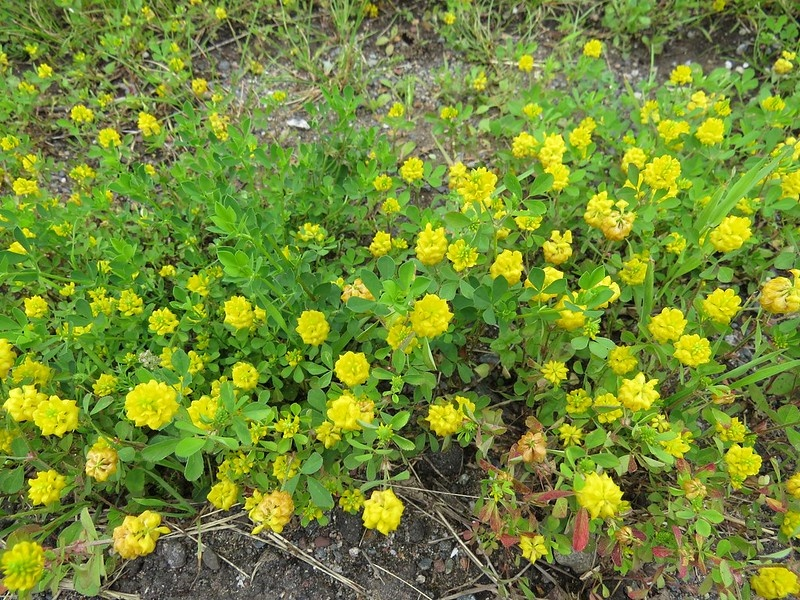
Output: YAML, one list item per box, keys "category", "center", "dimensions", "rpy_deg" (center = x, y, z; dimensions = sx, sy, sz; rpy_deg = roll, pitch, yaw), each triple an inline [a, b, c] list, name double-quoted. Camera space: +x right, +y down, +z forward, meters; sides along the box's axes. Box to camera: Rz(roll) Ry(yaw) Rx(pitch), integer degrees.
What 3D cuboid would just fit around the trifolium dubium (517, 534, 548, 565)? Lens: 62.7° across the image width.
- category: "trifolium dubium"
  center: [0.648, 1.201, 3.177]
  dimensions: [0.135, 0.121, 0.119]
  rpy_deg: [6, 78, -1]
